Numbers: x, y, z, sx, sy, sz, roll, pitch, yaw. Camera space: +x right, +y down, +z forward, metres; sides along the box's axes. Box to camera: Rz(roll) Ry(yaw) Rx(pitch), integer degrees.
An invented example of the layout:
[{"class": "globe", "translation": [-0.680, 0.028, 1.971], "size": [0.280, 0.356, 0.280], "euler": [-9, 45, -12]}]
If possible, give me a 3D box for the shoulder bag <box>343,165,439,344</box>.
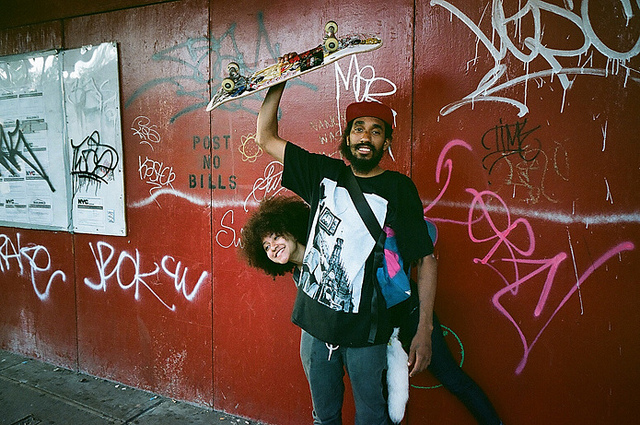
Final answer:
[{"class": "shoulder bag", "translation": [0.462, 0.337, 4.257], "size": [0.576, 1.402, 0.235], "euler": [1, 5, 9]}]
